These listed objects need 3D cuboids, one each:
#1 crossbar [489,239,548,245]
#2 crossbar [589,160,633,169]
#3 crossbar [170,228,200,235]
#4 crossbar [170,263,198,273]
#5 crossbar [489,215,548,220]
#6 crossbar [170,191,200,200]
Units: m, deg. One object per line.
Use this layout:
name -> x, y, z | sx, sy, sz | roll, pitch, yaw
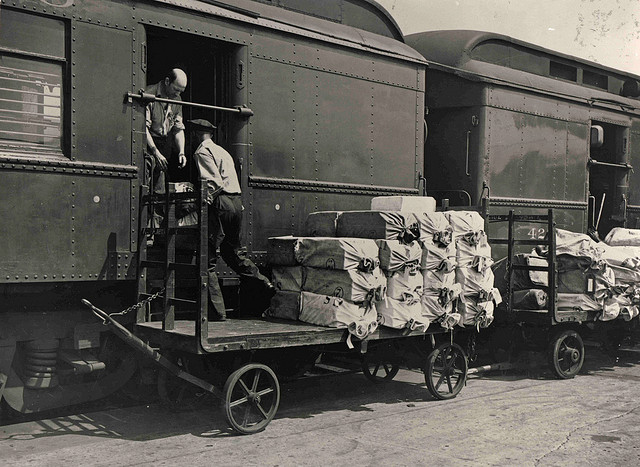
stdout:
crossbar -> 2.846, 0.123, 8.767 | 0.923, 0.091, 0.335 | 2, 2, 42
crossbar -> 5.313, -1.251, 11.103 | 0.309, 0.088, 1.544 | 2, 2, 43
crossbar -> -1.346, -0.026, 6.158 | 0.163, 0.070, 0.490 | 0, 2, -39
crossbar -> -1.351, 0.340, 6.108 | 0.135, 0.081, 0.449 | 0, 2, -39
crossbar -> 2.899, -0.232, 8.757 | 0.431, 0.073, 0.941 | 0, 2, -33
crossbar -> -1.344, -0.385, 6.133 | 0.140, 0.082, 0.490 | 0, 2, -39
